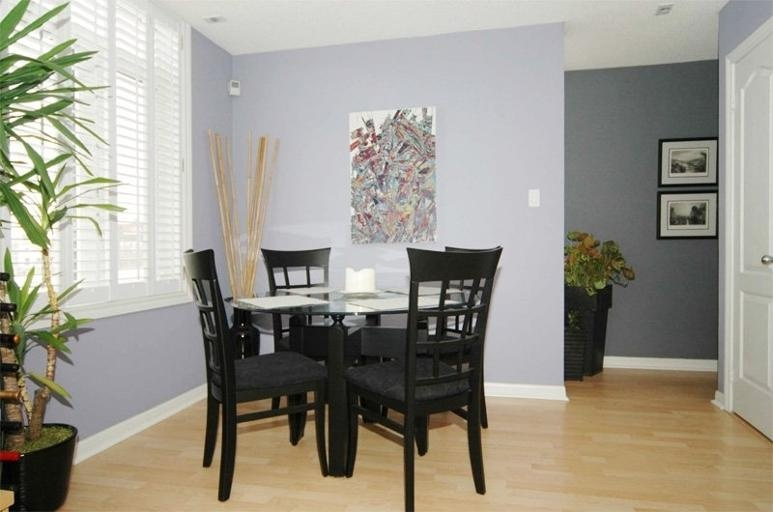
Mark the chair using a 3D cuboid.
[{"bbox_3d":[-0.270,0.645,3.633,1.802,1.249,1.510,1,2,28],"label":"chair"}]

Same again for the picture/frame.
[{"bbox_3d":[2.915,-0.659,5.427,0.526,0.973,0.251,1,12,5],"label":"picture/frame"}]

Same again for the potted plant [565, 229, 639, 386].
[{"bbox_3d":[1.925,0.451,5.312,0.870,1.355,0.389,-8,14,-35],"label":"potted plant"}]
